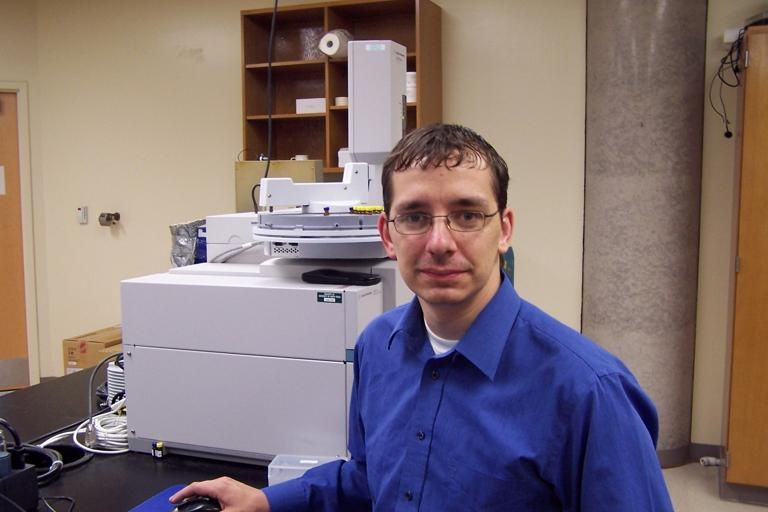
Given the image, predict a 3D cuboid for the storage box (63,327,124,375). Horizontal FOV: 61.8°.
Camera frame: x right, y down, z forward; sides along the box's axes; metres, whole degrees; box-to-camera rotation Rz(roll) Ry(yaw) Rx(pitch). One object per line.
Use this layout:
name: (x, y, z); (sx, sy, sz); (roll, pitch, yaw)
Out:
storage box: (-2.048, 0.692, 4.601); (0.399, 0.250, 0.588); (-3, 4, -40)

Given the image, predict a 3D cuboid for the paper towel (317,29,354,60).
paper towel: (-0.324, -1.430, 4.312); (0.201, 0.230, 0.260); (-1, 3, -2)

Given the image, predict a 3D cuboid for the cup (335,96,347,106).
cup: (-0.292, -1.046, 4.394); (0.084, 0.058, 0.083); (-1, 2, 0)
